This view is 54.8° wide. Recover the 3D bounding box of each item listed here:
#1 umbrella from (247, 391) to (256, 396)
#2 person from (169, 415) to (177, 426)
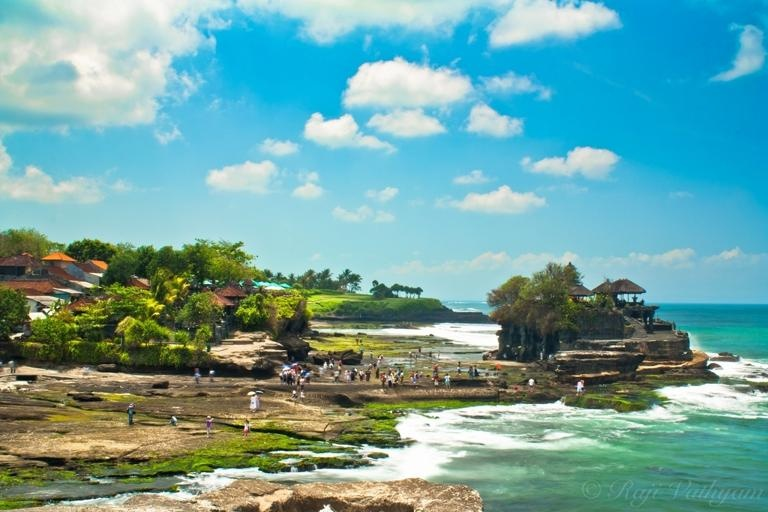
[{"bbox_3d":[-17.421,18.323,98.137,1.274,0.371,1.203,-3,-5,40],"label":"umbrella"},{"bbox_3d":[-24.825,19.372,86.710,1.106,0.901,1.600,6,0,12],"label":"person"}]
